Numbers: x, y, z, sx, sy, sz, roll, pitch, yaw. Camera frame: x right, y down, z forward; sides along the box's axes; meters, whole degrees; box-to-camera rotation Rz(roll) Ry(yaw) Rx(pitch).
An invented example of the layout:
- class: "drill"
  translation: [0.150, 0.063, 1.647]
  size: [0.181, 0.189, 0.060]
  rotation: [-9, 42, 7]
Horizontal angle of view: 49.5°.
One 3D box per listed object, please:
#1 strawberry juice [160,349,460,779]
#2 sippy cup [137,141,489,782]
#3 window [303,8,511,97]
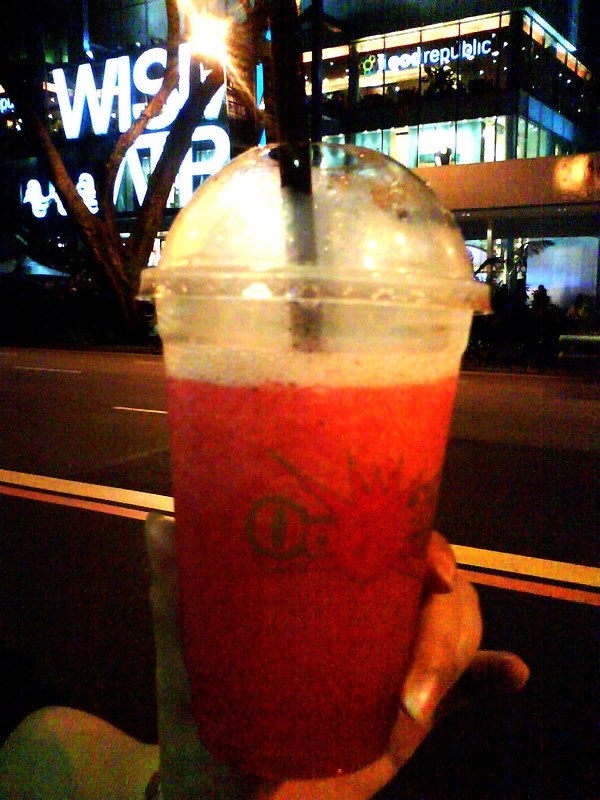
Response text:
- class: "strawberry juice"
  translation: [0.026, 0.086, 0.618]
  size: [0.218, 0.427, 0.242]
  rotation: [6, 23, 13]
- class: "sippy cup"
  translation: [0.037, -0.008, 0.631]
  size: [0.232, 0.607, 0.310]
  rotation: [4, 20, 8]
- class: "window"
  translation: [1.909, -7.227, 13.429]
  size: [4.166, 1.238, 2.324]
  rotation: [13, 54, 41]
